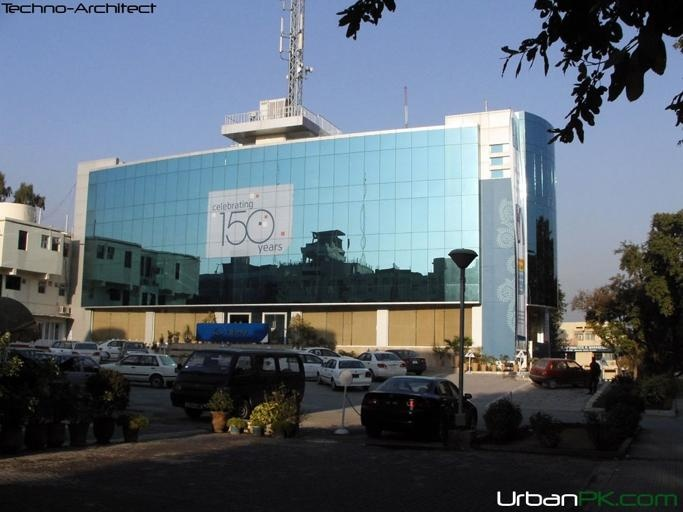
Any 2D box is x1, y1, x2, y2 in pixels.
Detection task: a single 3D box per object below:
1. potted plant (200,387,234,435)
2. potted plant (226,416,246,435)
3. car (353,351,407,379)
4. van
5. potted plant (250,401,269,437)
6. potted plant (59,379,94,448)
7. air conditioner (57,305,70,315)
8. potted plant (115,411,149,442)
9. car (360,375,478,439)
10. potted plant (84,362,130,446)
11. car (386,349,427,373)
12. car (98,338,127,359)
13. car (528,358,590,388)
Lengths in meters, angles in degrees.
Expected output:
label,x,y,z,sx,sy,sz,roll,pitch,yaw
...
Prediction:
label,x,y,z,sx,sy,sz,roll,pitch,yaw
potted plant,-3.330,4.291,18.721,0.659,1.065,0.370,0,-7,-10
potted plant,-2.868,4.605,18.365,0.397,0.393,0.405,2,3,15
car,2.359,5.952,37.127,1.230,1.052,2.969,1,-3,-18
van,-3.084,4.335,21.480,2.318,1.889,3.534,-9,-17,36
potted plant,-2.209,4.419,18.307,0.485,0.772,0.674,1,-8,-16
potted plant,-5.977,3.534,15.313,0.630,1.442,1.175,2,-8,-20
air conditioner,-29.552,5.853,72.444,0.505,1.061,1.611,-4,-8,21
potted plant,-4.894,3.987,16.046,0.733,0.835,0.762,4,-5,-30
car,1.842,4.083,18.278,2.606,1.610,1.666,-2,-8,4
potted plant,-5.616,3.449,15.741,1.319,2.193,1.352,1,-3,-18
car,4.346,6.649,41.947,1.228,1.068,3.056,0,-1,-12
car,-15.330,6.471,45.833,2.179,1.206,1.402,-4,-3,-7
car,12.047,6.419,37.589,2.511,1.282,1.682,-2,0,-20
